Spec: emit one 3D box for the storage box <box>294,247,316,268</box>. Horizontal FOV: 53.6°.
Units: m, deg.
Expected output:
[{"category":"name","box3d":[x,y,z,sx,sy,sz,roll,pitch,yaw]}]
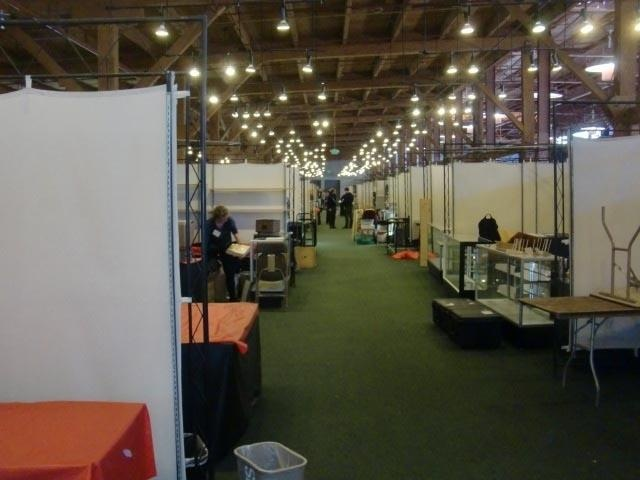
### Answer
[{"category":"storage box","box3d":[-0.316,0.337,12.205,0.340,0.388,0.147,-1,13,-9]}]
